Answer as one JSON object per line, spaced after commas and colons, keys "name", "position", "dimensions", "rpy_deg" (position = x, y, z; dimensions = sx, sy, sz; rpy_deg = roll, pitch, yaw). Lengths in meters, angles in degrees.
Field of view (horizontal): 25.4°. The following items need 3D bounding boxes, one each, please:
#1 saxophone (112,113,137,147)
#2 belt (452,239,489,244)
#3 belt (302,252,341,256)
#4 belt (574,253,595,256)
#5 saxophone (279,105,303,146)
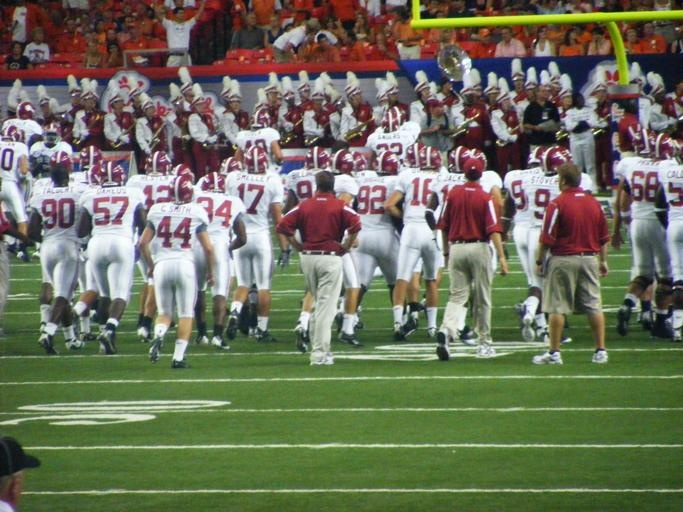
{"name": "saxophone", "position": [-4.254, -2.474, 29.585], "dimensions": [0.547, 0.586, 0.137], "rpy_deg": [5, -2, 25]}
{"name": "belt", "position": [1.576, -0.158, 18.560], "dimensions": [0.442, 0.048, 0.116], "rpy_deg": [-2, -3, 8]}
{"name": "belt", "position": [-0.258, -0.014, 18.318], "dimensions": [0.468, 0.060, 0.090], "rpy_deg": [-2, -3, 11]}
{"name": "belt", "position": [2.904, -0.009, 18.033], "dimensions": [0.233, 0.040, 0.030], "rpy_deg": [0, -3, -16]}
{"name": "saxophone", "position": [-0.966, -2.455, 28.763], "dimensions": [0.482, 0.736, 0.256], "rpy_deg": [-1, 1, 11]}
